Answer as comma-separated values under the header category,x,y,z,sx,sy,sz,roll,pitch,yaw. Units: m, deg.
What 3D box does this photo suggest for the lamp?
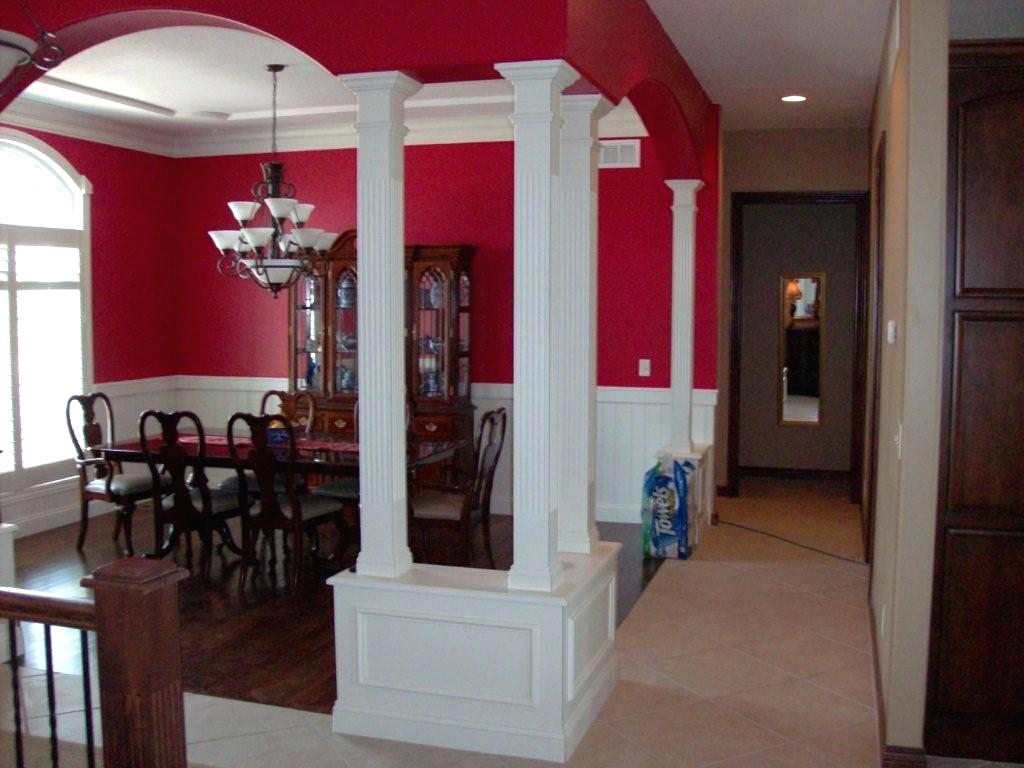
category,x,y,z,sx,sy,sz,roll,pitch,yaw
lamp,-1.764,-1.543,5.994,0.903,1.777,0.878,-3,7,-25

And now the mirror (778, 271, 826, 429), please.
category,x,y,z,sx,sy,sz,roll,pitch,yaw
mirror,3.176,-0.457,8.960,0.045,1.913,0.506,-8,8,-37
